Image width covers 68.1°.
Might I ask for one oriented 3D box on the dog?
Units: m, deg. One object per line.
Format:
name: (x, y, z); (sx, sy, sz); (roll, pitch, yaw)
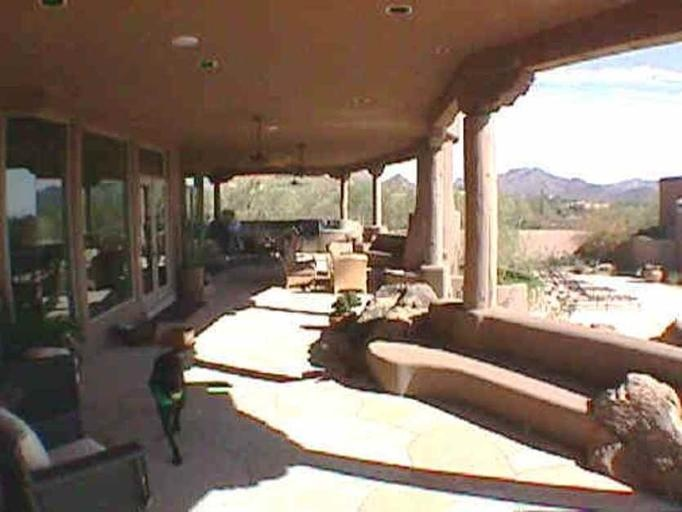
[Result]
dog: (-1.293, 1.139, 3.820); (0.278, 0.247, 1.255); (15, 1, -16)

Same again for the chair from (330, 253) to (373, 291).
chair: (0.175, 0.453, 8.608); (0.668, 0.666, 0.753); (7, -22, -10)

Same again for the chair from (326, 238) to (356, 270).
chair: (0.001, -0.071, 8.876); (0.392, 0.661, 0.476); (1, -11, -2)

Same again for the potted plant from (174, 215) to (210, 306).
potted plant: (-2.185, 0.059, 7.377); (0.414, 1.203, 0.341); (-5, 10, -31)

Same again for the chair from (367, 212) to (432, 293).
chair: (0.846, -0.082, 7.984); (0.796, 0.459, 1.230); (-15, 10, 10)

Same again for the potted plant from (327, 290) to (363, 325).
potted plant: (0.052, 0.616, 6.043); (0.342, 0.313, 0.497); (2, 10, 7)

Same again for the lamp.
lamp: (-2.173, 0.052, 3.682); (0.333, 0.697, 0.152); (-6, 11, -39)
